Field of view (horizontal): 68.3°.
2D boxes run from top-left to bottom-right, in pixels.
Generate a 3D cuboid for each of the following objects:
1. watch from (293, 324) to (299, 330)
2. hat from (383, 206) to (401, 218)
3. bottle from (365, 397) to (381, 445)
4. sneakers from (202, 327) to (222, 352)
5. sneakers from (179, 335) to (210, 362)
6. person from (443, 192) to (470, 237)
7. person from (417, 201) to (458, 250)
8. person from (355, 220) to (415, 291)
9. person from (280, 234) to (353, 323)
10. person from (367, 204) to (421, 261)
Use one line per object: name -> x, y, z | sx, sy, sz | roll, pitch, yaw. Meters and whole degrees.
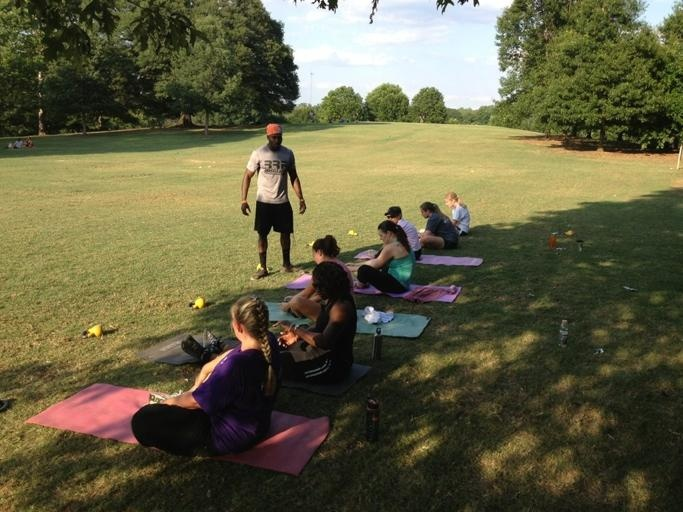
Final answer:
watch -> -0.550, 0.893, 6.317 | 0.102, 0.072, 0.099 | 1, -1, -18
hat -> 1.020, -0.853, 9.789 | 0.241, 0.300, 0.302 | -9, 16, -41
bottle -> 0.328, 1.702, 5.371 | 0.156, 0.455, 0.260 | -2, 15, 2
sneakers -> -1.678, 1.098, 6.557 | 0.121, 0.135, 0.500 | -19, 10, -14
sneakers -> -1.894, 1.194, 6.493 | 0.156, 0.378, 0.127 | 15, 66, 46
person -> 2.860, -1.083, 12.883 | 0.806, 1.015, 0.652 | -5, 10, 12
person -> 2.185, -0.721, 11.776 | 1.169, 1.110, 0.879 | -1, 10, 27
person -> 0.723, 0.009, 9.044 | 1.194, 1.339, 0.988 | 3, 15, 31
person -> -0.379, 0.320, 7.468 | 1.110, 1.263, 0.965 | 4, 6, 16
person -> 1.275, -0.358, 10.196 | 0.857, 1.373, 0.587 | -4, 15, 34
